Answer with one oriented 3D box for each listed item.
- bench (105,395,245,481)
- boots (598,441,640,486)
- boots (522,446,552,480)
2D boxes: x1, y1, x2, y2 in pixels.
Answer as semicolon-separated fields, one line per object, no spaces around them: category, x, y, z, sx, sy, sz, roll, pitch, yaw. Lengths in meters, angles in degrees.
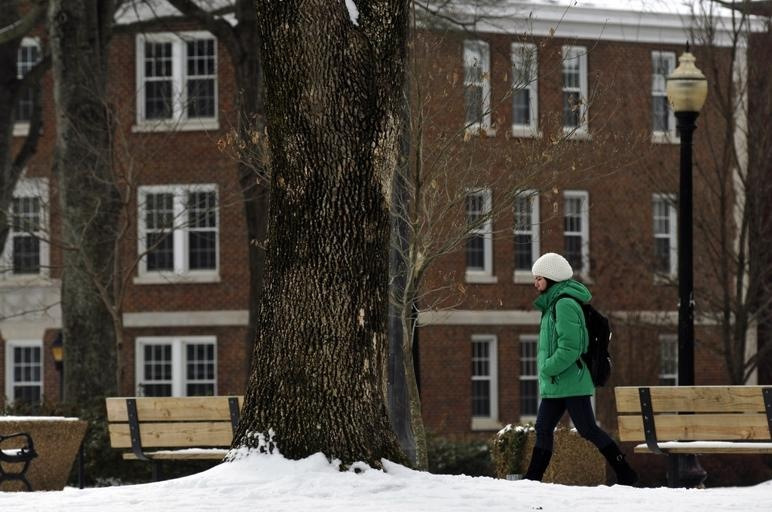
bench;-4.694;3.964;57.276;2.881;1.824;0.767;-3;-4;-2
boots;5.118;4.481;56.255;0.769;0.945;0.679;-4;-4;18
boots;3.341;4.470;56.260;0.615;0.716;0.531;-3;-4;1
